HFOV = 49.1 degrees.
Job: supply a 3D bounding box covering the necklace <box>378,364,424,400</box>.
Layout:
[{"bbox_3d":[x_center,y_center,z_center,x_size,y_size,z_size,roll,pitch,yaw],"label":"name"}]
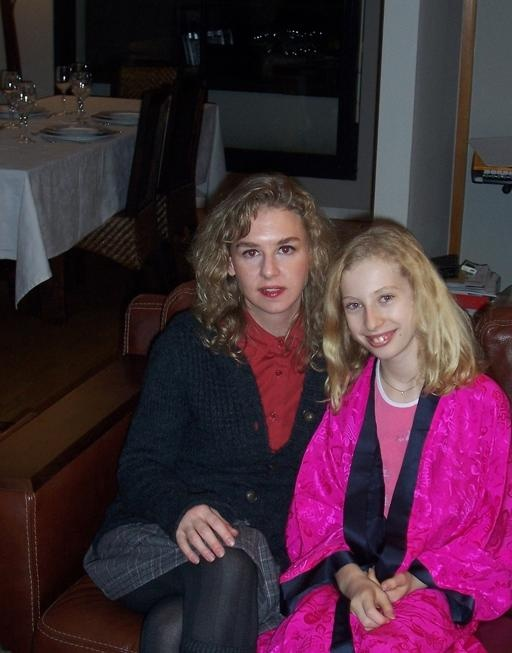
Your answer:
[{"bbox_3d":[0.275,0.109,1.069,0.059,0.075,0.055,-7,4,0],"label":"necklace"}]
